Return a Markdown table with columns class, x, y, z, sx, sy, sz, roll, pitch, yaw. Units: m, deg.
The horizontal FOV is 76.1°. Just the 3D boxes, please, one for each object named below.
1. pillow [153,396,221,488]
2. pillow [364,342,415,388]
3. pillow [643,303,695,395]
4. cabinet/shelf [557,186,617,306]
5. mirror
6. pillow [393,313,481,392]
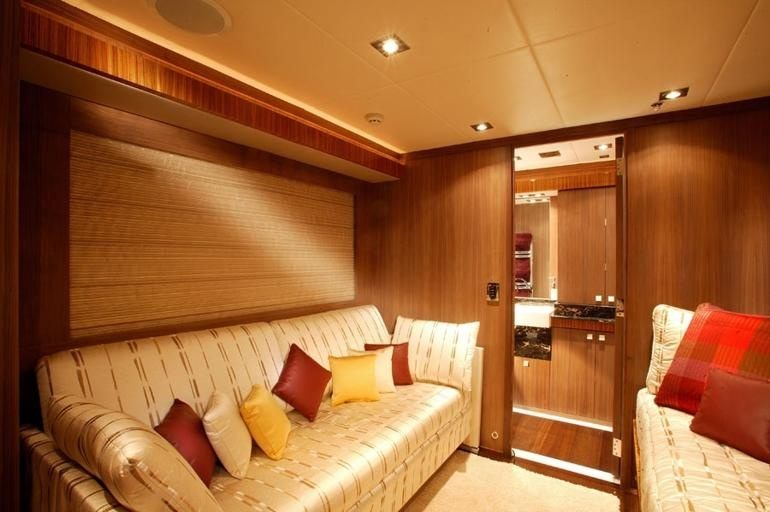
| class | x | y | z | sx | sy | sz | roll | pitch | yaw |
| --- | --- | --- | --- | --- | --- | --- | --- | --- | --- |
| pillow | -1.189 | 1.092 | 3.006 | 0.135 | 0.438 | 0.396 | -34 | 33 | -7 |
| pillow | 0.026 | 0.944 | 4.207 | 0.332 | 0.315 | 0.121 | -2 | -26 | -5 |
| pillow | 2.042 | 0.694 | 3.689 | 0.165 | 0.565 | 0.553 | 16 | 10 | 29 |
| cabinet/shelf | 2.097 | -0.106 | 5.169 | 0.576 | 1.199 | 0.203 | -2 | 3 | 19 |
| mirror | 1.735 | -0.114 | 5.659 | 0.469 | 1.213 | 0.226 | -1 | 4 | 26 |
| pillow | 0.479 | 0.881 | 4.377 | 0.625 | 0.460 | 0.226 | 1 | -23 | 29 |
